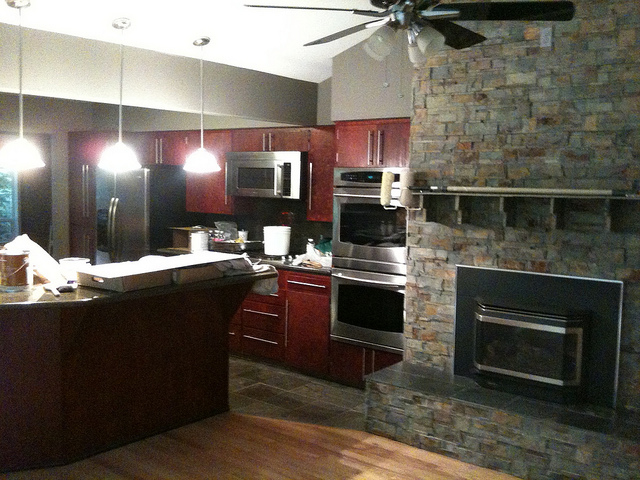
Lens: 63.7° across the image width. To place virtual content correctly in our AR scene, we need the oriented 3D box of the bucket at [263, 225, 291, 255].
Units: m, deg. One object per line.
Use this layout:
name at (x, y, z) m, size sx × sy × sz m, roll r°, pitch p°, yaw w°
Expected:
bucket at (-0.473, 0.001, 5.772) m, size 0.310 × 0.285 × 0.298 m, roll 1°, pitch 5°, yaw 0°

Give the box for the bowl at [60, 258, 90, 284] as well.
bowl at (-1.667, 0.196, 3.477) m, size 0.178 × 0.167 × 0.172 m, roll 1°, pitch 7°, yaw 0°

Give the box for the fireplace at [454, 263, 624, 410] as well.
fireplace at (1.500, 0.654, 3.690) m, size 1.089 × 0.830 × 0.393 m, roll 5°, pitch 7°, yaw 34°

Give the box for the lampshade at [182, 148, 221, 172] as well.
lampshade at (-0.950, -0.624, 4.163) m, size 0.266 × 0.141 × 0.256 m, roll 0°, pitch 2°, yaw -6°

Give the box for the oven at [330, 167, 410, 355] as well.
oven at (0.739, 0.164, 5.006) m, size 0.908 × 1.781 × 1.029 m, roll -5°, pitch 8°, yaw -44°

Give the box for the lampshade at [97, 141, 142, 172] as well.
lampshade at (-1.445, -0.576, 3.655) m, size 0.253 × 0.148 × 0.248 m, roll -2°, pitch 6°, yaw -36°

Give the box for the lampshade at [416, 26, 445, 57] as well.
lampshade at (0.549, -1.008, 2.600) m, size 0.129 × 0.079 × 0.133 m, roll 3°, pitch 2°, yaw 0°
